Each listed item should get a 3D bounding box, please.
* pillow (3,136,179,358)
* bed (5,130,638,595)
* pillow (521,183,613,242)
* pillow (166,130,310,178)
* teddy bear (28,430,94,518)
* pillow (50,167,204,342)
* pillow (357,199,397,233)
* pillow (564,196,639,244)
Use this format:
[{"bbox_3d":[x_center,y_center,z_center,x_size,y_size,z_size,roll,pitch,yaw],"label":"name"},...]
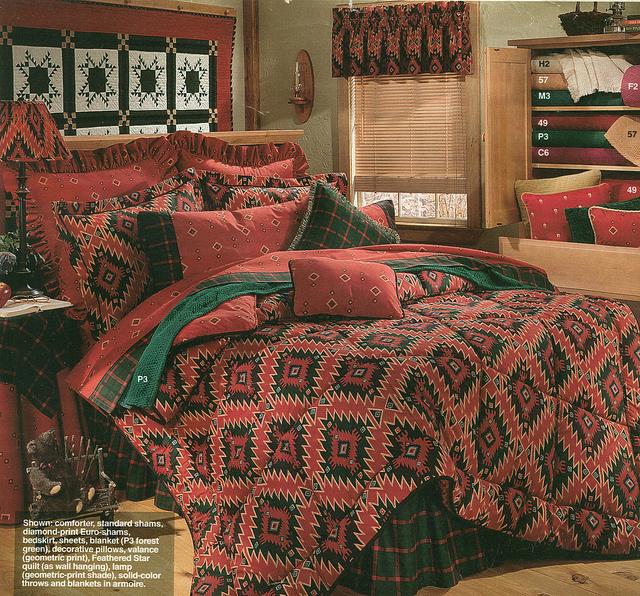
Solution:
[{"bbox_3d":[-1.082,-0.309,2.978,0.163,0.976,0.714,-22,-7,34],"label":"pillow"},{"bbox_3d":[-0.149,0.202,2.551,1.990,1.371,1.853,4,13,41],"label":"bed"},{"bbox_3d":[1.567,-0.538,4.019,0.359,0.288,0.127,-10,10,-12],"label":"pillow"},{"bbox_3d":[-0.471,-0.806,3.778,0.824,0.254,0.154,-5,8,-19],"label":"pillow"},{"bbox_3d":[-0.989,0.647,2.399,0.196,0.341,0.220,-1,6,9],"label":"teddy bear"},{"bbox_3d":[-0.854,-0.121,2.740,0.175,0.696,0.706,-12,7,46],"label":"pillow"},{"bbox_3d":[0.311,-0.472,3.480,0.183,0.057,0.189,33,38,17],"label":"pillow"},{"bbox_3d":[1.627,-0.454,3.728,0.330,0.325,0.101,-3,-19,-3],"label":"pillow"}]
